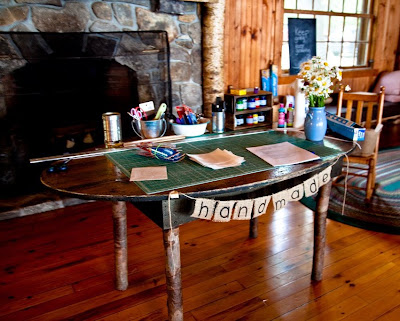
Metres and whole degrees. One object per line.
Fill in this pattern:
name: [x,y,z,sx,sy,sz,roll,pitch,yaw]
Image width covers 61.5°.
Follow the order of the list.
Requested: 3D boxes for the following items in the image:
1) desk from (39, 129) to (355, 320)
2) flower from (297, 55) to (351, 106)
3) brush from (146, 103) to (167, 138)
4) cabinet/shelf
desk: [0.052,0.384,2.119,1.671,0.957,0.815,-11,22,-25]
flower: [0.785,-0.516,2.217,0.258,0.323,0.203,2,22,12]
brush: [-0.314,-0.299,2.534,0.139,0.247,0.055,9,-2,-2]
cabinet/shelf: [0.488,-0.512,3.448,0.737,0.326,0.229,-10,19,-29]
